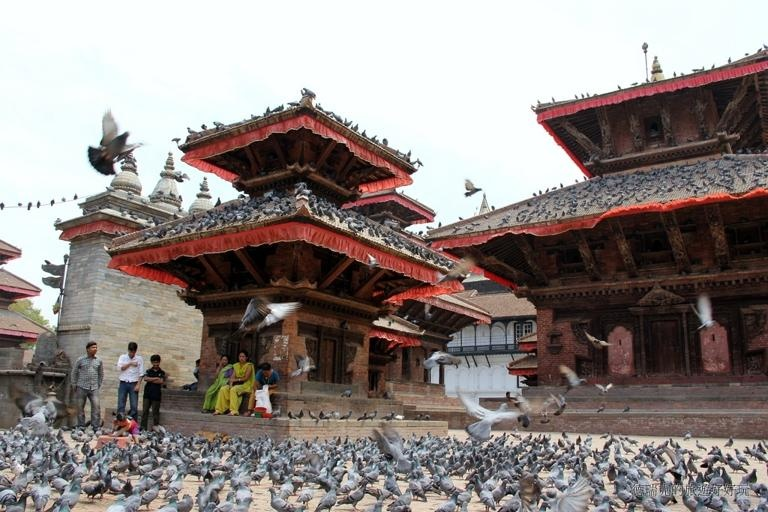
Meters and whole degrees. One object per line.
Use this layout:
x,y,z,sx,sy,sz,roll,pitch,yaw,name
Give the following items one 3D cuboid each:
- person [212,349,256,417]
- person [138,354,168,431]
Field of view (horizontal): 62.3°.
-3.876,3.287,16.660,1.177,1.486,0.910,0,6,5,person
-6.115,3.569,16.778,1.064,1.908,0.851,3,-3,-10,person
